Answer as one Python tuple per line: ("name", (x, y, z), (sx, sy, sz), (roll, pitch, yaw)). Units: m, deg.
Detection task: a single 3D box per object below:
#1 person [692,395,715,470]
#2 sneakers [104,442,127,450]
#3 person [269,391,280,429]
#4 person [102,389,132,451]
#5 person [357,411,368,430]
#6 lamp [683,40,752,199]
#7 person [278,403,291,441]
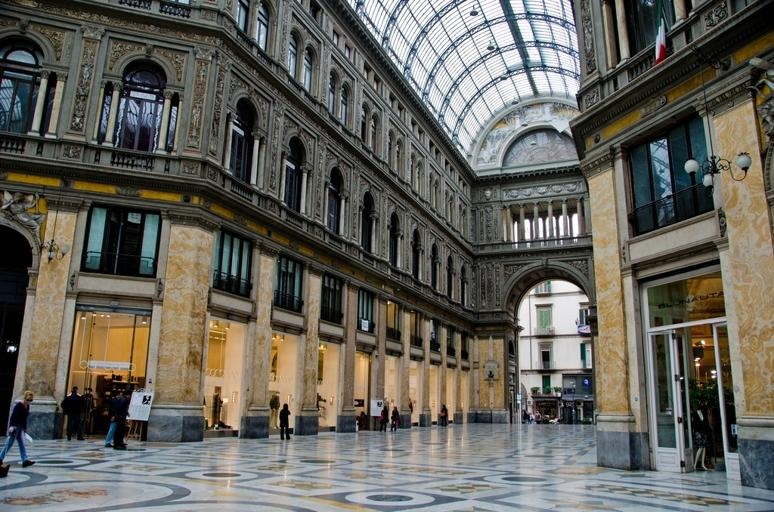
("person", (9.876, 5.632, 18.015), (0.517, 2.054, 0.820), (-5, -13, 27))
("sneakers", (-9.796, 6.844, 20.689), (0.579, 0.261, 0.185), (9, -15, 7))
("person", (-5.930, 8.052, 30.036), (0.367, 1.899, 0.985), (-3, -13, 19))
("person", (-9.825, 6.045, 20.965), (0.702, 1.812, 1.029), (7, -13, -24))
("person", (-1.598, 10.505, 36.768), (0.485, 1.100, 0.916), (-6, -14, 31))
("lamp", (9.575, -4.017, 16.774), (1.545, 4.179, 2.132), (-7, -14, 34))
("person", (-4.898, 7.858, 27.383), (0.485, 1.596, 1.403), (3, -12, -10))
